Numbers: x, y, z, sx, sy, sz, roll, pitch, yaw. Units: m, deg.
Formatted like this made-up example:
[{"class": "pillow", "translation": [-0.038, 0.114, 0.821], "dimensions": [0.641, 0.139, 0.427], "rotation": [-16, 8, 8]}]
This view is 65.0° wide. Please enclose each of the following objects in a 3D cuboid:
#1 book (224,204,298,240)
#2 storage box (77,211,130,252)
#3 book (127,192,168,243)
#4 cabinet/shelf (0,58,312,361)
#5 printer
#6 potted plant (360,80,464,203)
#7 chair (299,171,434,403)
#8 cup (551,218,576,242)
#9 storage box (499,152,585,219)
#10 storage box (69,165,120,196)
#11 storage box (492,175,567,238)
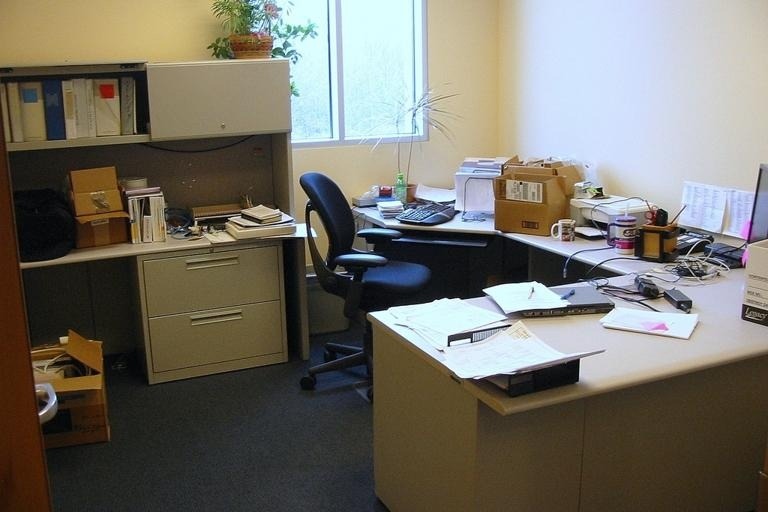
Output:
[{"class": "book", "translation": [-0.846, -0.223, 4.172], "dimensions": [0.303, 0.110, 0.319], "rotation": [-8, 18, -28]}, {"class": "storage box", "translation": [-2.005, -0.200, 4.146], "dimensions": [0.347, 0.219, 0.467], "rotation": [-12, 10, -43]}, {"class": "book", "translation": [-1.527, -0.280, 4.174], "dimensions": [0.265, 0.327, 0.345], "rotation": [0, 4, 0]}, {"class": "cabinet/shelf", "translation": [-1.555, -0.300, 3.994], "dimensions": [2.243, 2.236, 0.675], "rotation": [-4, 6, -25]}, {"class": "printer", "translation": [1.526, -0.309, 3.983], "dimensions": [0.314, 0.204, 0.413], "rotation": [-7, 15, -25]}, {"class": "potted plant", "translation": [0.269, -0.998, 5.301], "dimensions": [0.957, 1.036, 0.918], "rotation": [-12, 30, -17]}, {"class": "chair", "translation": [-0.082, 0.173, 4.196], "dimensions": [1.012, 1.389, 1.054], "rotation": [0, 10, -3]}, {"class": "cup", "translation": [1.136, -0.179, 3.901], "dimensions": [0.176, 0.140, 0.106], "rotation": [-4, 18, -6]}, {"class": "storage box", "translation": [1.079, -0.481, 4.159], "dimensions": [0.588, 0.399, 0.420], "rotation": [6, 15, 31]}, {"class": "storage box", "translation": [-1.885, -0.503, 3.909], "dimensions": [0.216, 0.125, 0.215], "rotation": [-11, 12, -36]}, {"class": "storage box", "translation": [0.949, -0.388, 4.139], "dimensions": [0.578, 0.439, 0.407], "rotation": [7, 16, 33]}]
